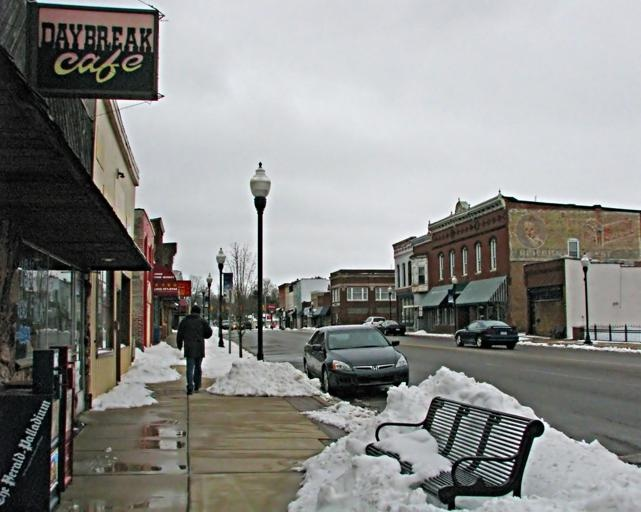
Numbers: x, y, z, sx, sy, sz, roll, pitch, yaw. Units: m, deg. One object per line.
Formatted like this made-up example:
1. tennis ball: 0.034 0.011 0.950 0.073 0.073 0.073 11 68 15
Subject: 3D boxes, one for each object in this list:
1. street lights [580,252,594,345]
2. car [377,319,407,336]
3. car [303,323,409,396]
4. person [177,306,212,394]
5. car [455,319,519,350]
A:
1. street lights: 14.441 2.319 35.435 0.577 5.058 0.689 0 -5 -7
2. car: 5.855 5.922 53.750 1.270 1.042 2.839 1 0 2
3. car: 0.834 2.385 15.350 1.721 1.689 3.002 1 -9 -13
4. person: -2.784 2.046 14.384 0.696 1.947 1.461 1 -8 -11
5. car: 8.100 3.803 32.117 1.278 1.127 3.241 2 -5 -14
